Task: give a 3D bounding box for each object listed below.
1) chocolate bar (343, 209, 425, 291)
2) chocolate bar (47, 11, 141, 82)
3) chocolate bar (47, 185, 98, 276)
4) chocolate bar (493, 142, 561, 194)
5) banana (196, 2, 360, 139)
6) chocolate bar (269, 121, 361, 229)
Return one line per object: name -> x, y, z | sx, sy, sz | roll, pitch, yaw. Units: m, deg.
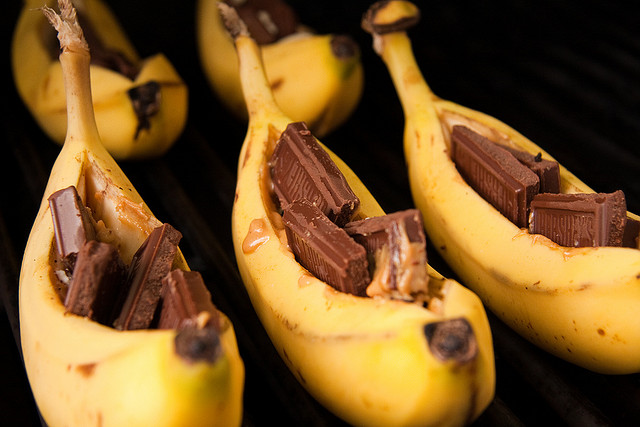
chocolate bar -> 0.086, 0.044, 0.959 | 0.025, 0.110, 0.104 | -6, 1, -37
chocolate bar -> -0.500, -0.324, 1.383 | 0.060, 0.095, 0.242 | -36, 16, -11
chocolate bar -> -0.369, 0.028, 1.005 | 0.034, 0.089, 0.094 | -20, 51, -6
chocolate bar -> 0.353, -0.072, 1.164 | 0.051, 0.049, 0.119 | -22, 47, -25
banana -> -0.093, -0.334, 1.479 | 0.367, 0.235, 0.202 | 40, 29, 25
chocolate bar -> -0.023, -0.055, 1.091 | 0.062, 0.111, 0.181 | -21, 61, -35
